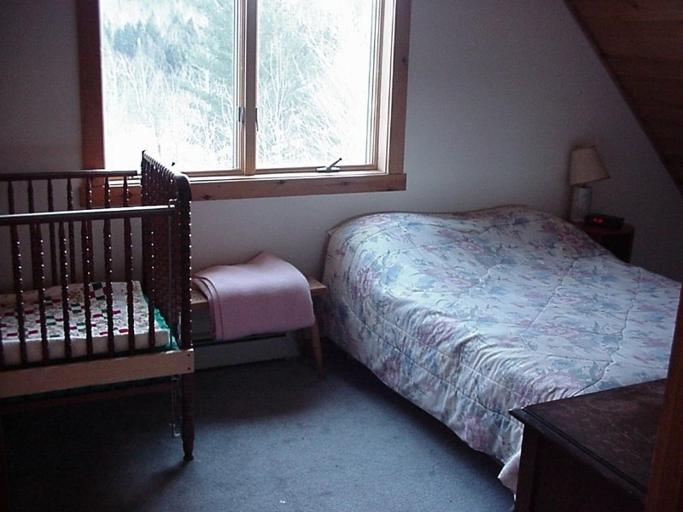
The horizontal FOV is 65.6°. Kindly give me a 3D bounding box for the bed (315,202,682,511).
[{"bbox_3d":[0.644,0.250,2.390,1.379,0.554,1.359,-11,28,-28],"label":"bed"}]

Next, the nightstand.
[{"bbox_3d":[1.785,-0.143,3.596,0.330,0.326,0.311,9,22,27],"label":"nightstand"}]

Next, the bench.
[{"bbox_3d":[-0.464,0.292,2.911,0.653,0.547,0.514,-5,8,-20],"label":"bench"}]
